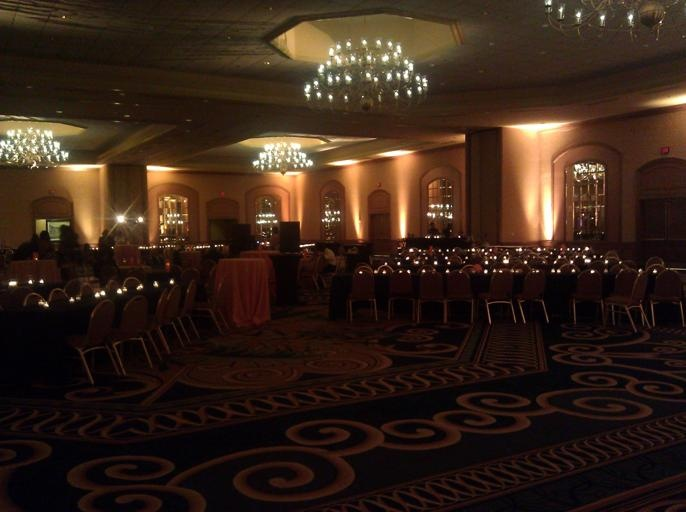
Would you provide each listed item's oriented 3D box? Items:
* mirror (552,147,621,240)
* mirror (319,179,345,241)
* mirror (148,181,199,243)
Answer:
[{"bbox_3d":[6.559,-1.698,14.469,0.442,2.588,1.877,-4,7,-27],"label":"mirror"},{"bbox_3d":[-0.446,-1.891,22.583,0.312,2.454,1.608,-4,8,-32],"label":"mirror"},{"bbox_3d":[-7.109,-1.888,22.483,2.439,3.564,0.301,-2,4,-30],"label":"mirror"}]
